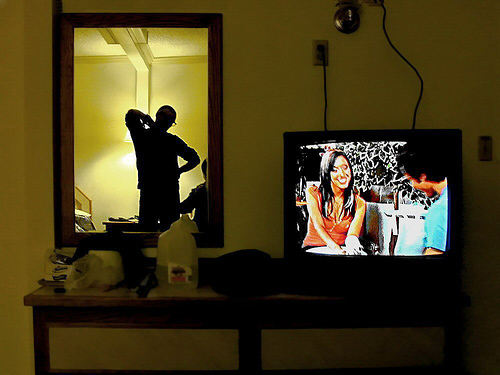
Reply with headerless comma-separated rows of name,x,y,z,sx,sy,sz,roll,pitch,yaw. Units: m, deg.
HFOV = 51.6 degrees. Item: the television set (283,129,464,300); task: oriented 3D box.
television set,0.625,0.136,2.493,0.761,0.737,0.401,0,2,7
